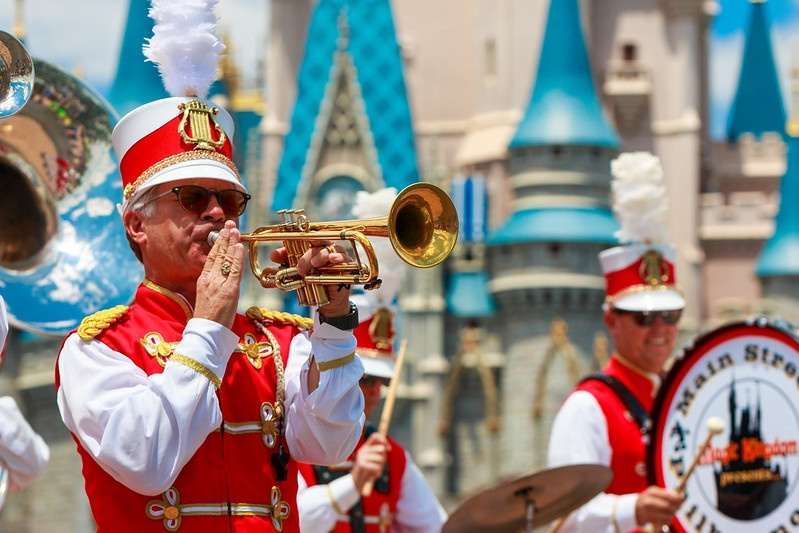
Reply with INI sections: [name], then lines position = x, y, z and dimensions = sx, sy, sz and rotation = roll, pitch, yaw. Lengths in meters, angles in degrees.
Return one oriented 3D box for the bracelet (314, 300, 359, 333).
[bracelet]
position = -0.578, 0.470, 17.948
dimensions = 0.299, 0.279, 0.311
rotation = 0, -6, 4
